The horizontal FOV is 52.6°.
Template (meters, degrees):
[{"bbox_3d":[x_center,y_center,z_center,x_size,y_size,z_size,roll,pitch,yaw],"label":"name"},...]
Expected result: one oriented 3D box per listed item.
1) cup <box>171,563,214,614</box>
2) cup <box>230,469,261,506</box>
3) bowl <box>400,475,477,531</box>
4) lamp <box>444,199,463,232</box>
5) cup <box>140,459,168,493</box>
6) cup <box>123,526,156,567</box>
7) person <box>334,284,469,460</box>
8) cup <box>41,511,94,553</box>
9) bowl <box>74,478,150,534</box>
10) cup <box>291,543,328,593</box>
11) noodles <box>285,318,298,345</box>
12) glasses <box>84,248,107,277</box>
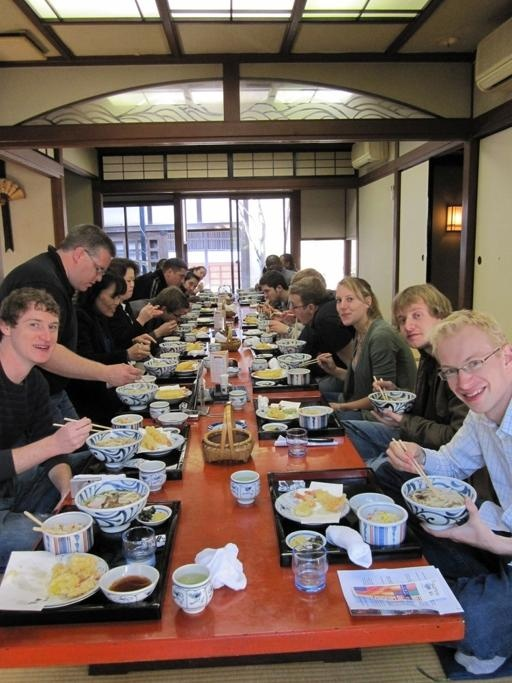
[{"bbox_3d":[-0.121,0.467,0.992,0.075,0.060,0.081,-1,-4,0],"label":"cup"},{"bbox_3d":[-0.033,0.399,1.424,0.081,0.064,0.085,0,-4,0],"label":"cup"},{"bbox_3d":[0.454,0.412,1.317,0.177,0.079,0.169,-3,8,0],"label":"bowl"},{"bbox_3d":[2.667,-1.675,7.040,0.212,0.388,0.083,0,10,1],"label":"lamp"},{"bbox_3d":[-0.296,0.397,1.542,0.083,0.069,0.085,1,5,0],"label":"cup"},{"bbox_3d":[-0.252,0.436,1.116,0.081,0.074,0.077,-1,0,0],"label":"cup"},{"bbox_3d":[0.685,0.189,2.287,0.670,0.873,0.483,6,11,23],"label":"person"},{"bbox_3d":[-0.433,0.440,1.222,0.100,0.043,0.094,0,1,0],"label":"cup"},{"bbox_3d":[-0.364,0.420,1.320,0.175,0.080,0.176,-2,16,1],"label":"bowl"},{"bbox_3d":[0.110,0.459,1.045,0.088,0.076,0.079,-2,-5,-6],"label":"cup"},{"bbox_3d":[0.289,-0.082,4.014,0.056,0.138,0.107,16,-22,-9],"label":"noodles"},{"bbox_3d":[-0.783,-0.386,2.538,0.032,0.099,0.099,-33,-12,3],"label":"glasses"}]
